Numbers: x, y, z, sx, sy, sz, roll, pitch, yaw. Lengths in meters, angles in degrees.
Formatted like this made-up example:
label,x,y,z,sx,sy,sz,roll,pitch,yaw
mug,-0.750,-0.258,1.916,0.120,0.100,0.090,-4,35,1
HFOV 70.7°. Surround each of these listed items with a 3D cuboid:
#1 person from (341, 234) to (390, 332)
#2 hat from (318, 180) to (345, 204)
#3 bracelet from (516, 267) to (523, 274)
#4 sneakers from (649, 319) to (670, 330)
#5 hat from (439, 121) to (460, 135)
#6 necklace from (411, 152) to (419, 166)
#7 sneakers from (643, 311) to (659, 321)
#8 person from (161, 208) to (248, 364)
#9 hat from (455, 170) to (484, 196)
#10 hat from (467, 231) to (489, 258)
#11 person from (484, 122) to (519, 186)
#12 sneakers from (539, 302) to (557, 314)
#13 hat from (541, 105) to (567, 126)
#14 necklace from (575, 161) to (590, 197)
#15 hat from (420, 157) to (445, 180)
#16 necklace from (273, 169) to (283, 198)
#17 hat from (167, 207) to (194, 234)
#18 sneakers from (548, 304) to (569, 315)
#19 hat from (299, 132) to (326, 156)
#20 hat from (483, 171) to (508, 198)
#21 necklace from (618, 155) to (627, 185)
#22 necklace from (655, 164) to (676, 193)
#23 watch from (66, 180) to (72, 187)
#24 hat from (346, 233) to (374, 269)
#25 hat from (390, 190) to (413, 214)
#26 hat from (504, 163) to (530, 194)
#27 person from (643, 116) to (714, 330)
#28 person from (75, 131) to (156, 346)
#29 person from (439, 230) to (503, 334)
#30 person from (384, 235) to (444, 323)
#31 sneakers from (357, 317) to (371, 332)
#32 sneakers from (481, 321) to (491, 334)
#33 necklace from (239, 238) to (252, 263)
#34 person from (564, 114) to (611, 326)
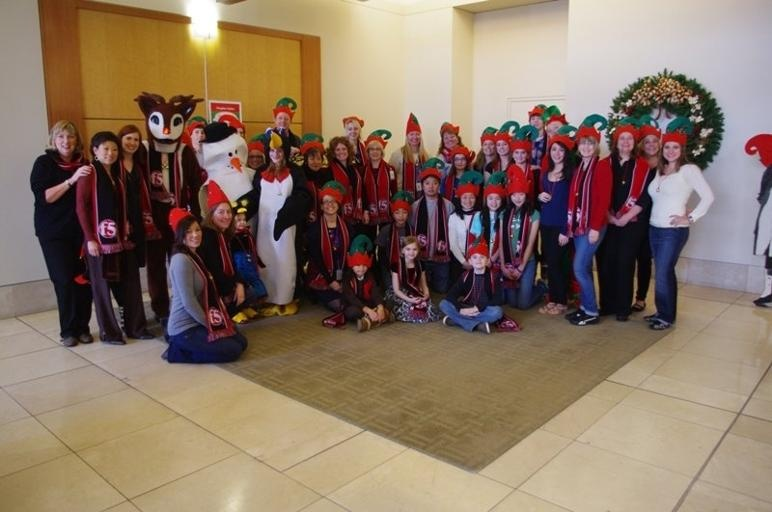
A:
label,x,y,z,sx,sy,sz,roll,pitch,yaw
person,-0.253,0.276,5.743,0.482,0.905,0.655,-8,16,-19
hat,-0.591,-0.703,5.957,0.202,0.212,0.266,0,0,15
bracelet,1.489,0.180,6.092,0.065,0.050,0.064,0,0,-36
sneakers,2.808,0.725,5.611,0.100,0.075,0.181,-29,-2,-12
hat,0.835,-1.670,7.200,0.191,0.151,0.404,1,15,11
necklace,0.381,-1.241,7.030,0.038,0.144,0.109,-7,10,32
sneakers,2.806,0.665,5.799,0.063,0.043,0.161,-35,0,-10
person,-1.663,0.308,4.865,0.641,1.351,0.384,1,16,14
hat,0.973,-0.853,6.325,0.253,0.202,0.323,-3,27,1
hat,0.984,-0.107,5.837,0.196,0.209,0.277,-2,-1,8
person,1.464,-1.236,6.587,0.340,0.791,0.320,0,8,4
sneakers,1.805,0.596,6.119,0.184,0.075,0.099,-2,6,-34
hat,2.066,-1.741,6.728,0.333,0.153,0.365,-1,7,15
necklace,2.036,-0.804,5.667,0.122,0.327,0.136,10,20,38
hat,0.553,-1.056,6.600,0.376,0.319,0.297,4,14,3
necklace,-1.164,-0.782,5.895,0.100,0.252,0.104,-1,16,5
hat,-1.897,-0.361,4.985,0.238,0.322,0.099,-7,-30,-12
sneakers,1.895,0.609,6.084,0.190,0.077,0.106,6,-7,-42
hat,-0.863,-1.312,6.310,0.257,0.112,0.281,2,28,8
hat,1.259,-0.812,6.144,0.223,0.237,0.321,-13,11,-39
necklace,2.443,-0.869,5.631,0.072,0.199,0.116,3,16,20
necklace,2.777,-0.769,5.472,0.241,0.288,0.104,8,19,34
watch,-2.934,-0.673,5.051,0.053,0.052,0.014,0,5,8
hat,-0.264,-0.052,5.877,0.257,0.296,0.354,1,7,2
hat,0.182,-0.628,6.242,0.195,0.211,0.262,1,4,20
hat,1.431,-0.840,5.966,0.252,0.313,0.317,-20,16,-31
person,2.932,-0.312,5.547,0.512,2.106,0.495,-3,16,-2
person,-2.611,-0.126,5.165,0.456,2.022,0.323,-10,18,-26
person,0.884,0.306,5.681,0.645,0.886,0.581,0,16,7
person,0.300,0.266,5.935,0.560,0.807,0.716,-9,21,-31
sneakers,-0.219,0.709,5.571,0.073,0.152,0.178,8,18,33
sneakers,1.017,0.753,5.534,0.062,0.046,0.141,22,35,-29
necklace,-1.477,-0.056,5.760,0.053,0.205,0.149,-9,9,28
person,2.102,-0.303,5.695,0.398,2.030,0.582,3,16,17
